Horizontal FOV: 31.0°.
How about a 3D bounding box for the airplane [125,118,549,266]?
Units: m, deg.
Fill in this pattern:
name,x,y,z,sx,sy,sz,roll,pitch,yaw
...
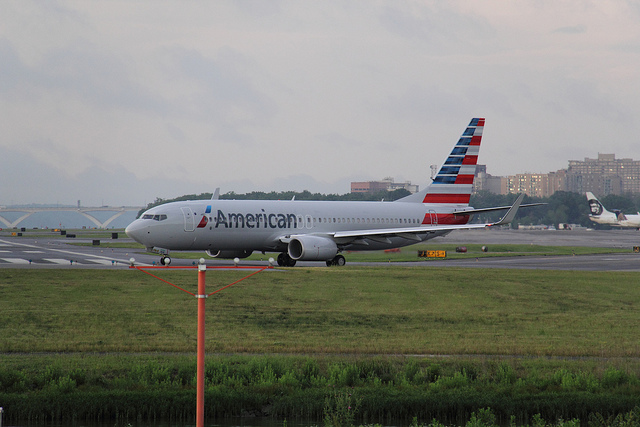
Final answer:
name,x,y,z,sx,sy,sz,roll,pitch,yaw
airplane,0.562,-1.757,85.836,29.709,11.302,16.625,1,9,-20
